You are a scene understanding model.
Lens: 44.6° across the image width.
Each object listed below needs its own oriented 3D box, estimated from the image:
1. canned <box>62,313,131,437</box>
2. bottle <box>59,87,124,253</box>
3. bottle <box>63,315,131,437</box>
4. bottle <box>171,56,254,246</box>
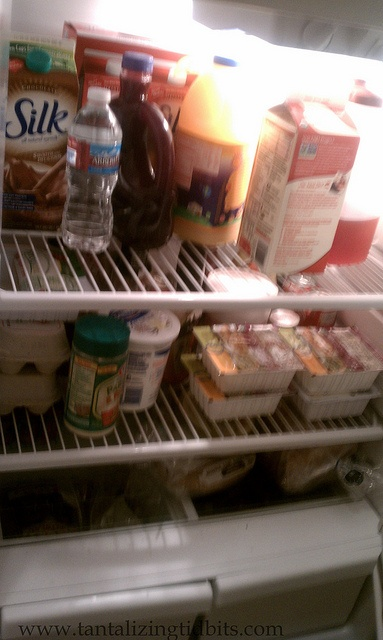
[{"bbox_3d":[-0.158,0.093,0.774,0.091,0.173,0.094,15,20,6],"label":"canned"},{"bbox_3d":[-0.132,-0.191,0.616,0.072,0.218,0.101,8,29,-11],"label":"bottle"},{"bbox_3d":[-0.154,0.085,0.747,0.108,0.202,0.110,9,31,-6],"label":"bottle"},{"bbox_3d":[0.038,-0.272,0.748,0.136,0.259,0.144,8,29,-4],"label":"bottle"}]
